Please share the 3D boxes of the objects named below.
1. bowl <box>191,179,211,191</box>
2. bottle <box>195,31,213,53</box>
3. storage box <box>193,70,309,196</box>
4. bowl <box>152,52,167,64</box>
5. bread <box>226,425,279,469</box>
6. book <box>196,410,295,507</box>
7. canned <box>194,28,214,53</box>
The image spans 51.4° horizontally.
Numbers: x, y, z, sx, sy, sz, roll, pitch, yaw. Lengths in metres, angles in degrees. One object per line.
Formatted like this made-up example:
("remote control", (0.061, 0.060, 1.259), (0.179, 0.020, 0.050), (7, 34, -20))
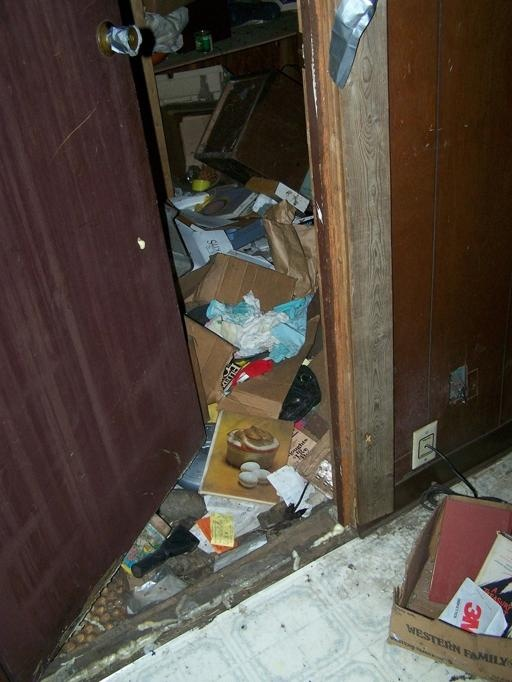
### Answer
("bowl", (-0.339, -0.963, 3.306), (0.072, 0.091, 0.079), (-4, 14, 1))
("bottle", (-0.327, -1.892, 3.385), (0.116, 0.123, 0.116), (-4, 37, -5))
("storage box", (-0.028, -1.190, 3.085), (0.639, 0.594, 0.421), (-6, 30, 6))
("bowl", (-0.603, -1.757, 3.311), (0.068, 0.063, 0.206), (-4, 31, 10))
("bread", (-0.009, 0.331, 1.672), (0.119, 0.083, 0.120), (2, 38, -21))
("book", (-0.026, 0.359, 1.666), (0.246, 0.092, 0.311), (-1, 31, 14))
("canned", (-0.312, -1.889, 3.407), (0.138, 0.139, 0.149), (0, -1, -2))
